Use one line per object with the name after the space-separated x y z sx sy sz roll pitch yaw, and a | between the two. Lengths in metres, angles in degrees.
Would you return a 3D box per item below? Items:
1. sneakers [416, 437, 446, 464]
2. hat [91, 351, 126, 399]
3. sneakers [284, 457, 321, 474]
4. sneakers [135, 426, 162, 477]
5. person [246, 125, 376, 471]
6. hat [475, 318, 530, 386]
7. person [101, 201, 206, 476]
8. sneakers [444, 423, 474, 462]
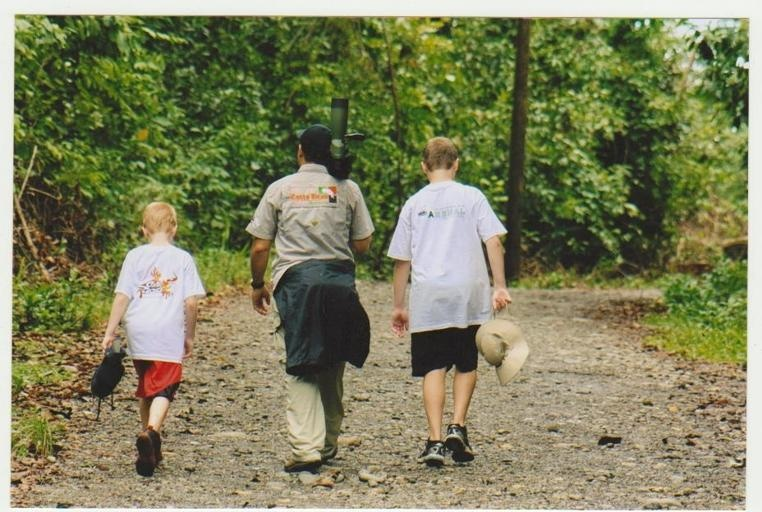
0.590 2.229 13.623 0.272 0.344 0.257 3 4 -3 | sneakers
-3.090 1.289 13.795 0.331 0.588 0.147 31 19 -15 | hat
-0.874 2.347 13.560 0.380 0.162 0.174 2 0 9 | sneakers
-2.570 2.145 13.480 0.256 0.600 0.256 2 30 0 | sneakers
-0.774 0.472 13.657 1.343 3.881 0.608 3 4 -2 | person
1.414 1.075 13.647 0.723 0.583 0.270 47 18 18 | hat
-2.589 0.920 13.673 0.922 3.021 0.710 0 5 -43 | person
0.872 2.119 13.644 0.228 0.249 0.539 -6 -38 17 | sneakers
